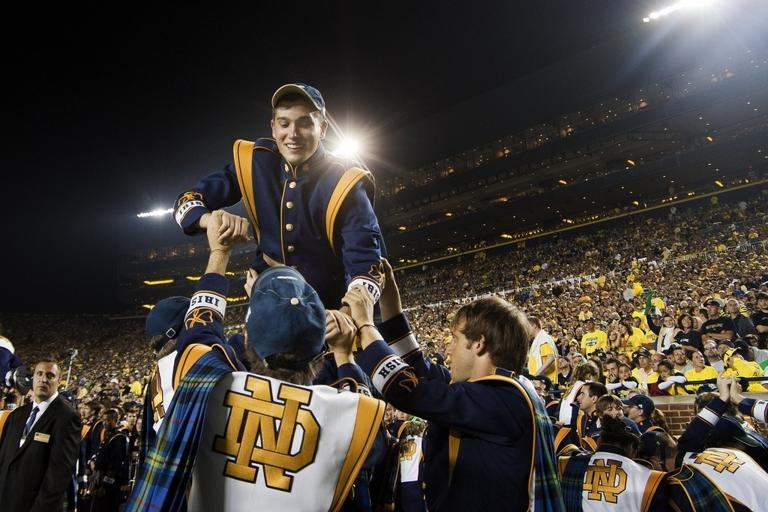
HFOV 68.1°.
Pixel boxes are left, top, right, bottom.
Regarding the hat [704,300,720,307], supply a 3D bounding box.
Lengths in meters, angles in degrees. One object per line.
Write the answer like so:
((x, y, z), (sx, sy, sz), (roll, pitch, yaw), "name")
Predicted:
((7.878, 1.123, 13.593), (0.443, 0.145, 0.272), (14, -17, -37), "hat")

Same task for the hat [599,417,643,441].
((2.966, 2.138, 7.053), (0.514, 0.252, 0.327), (14, -4, -21), "hat")

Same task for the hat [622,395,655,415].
((3.924, 2.243, 8.715), (0.413, 0.212, 0.270), (19, 3, 19), "hat")

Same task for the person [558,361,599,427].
((3.404, 2.412, 9.865), (0.345, 0.888, 0.514), (31, -15, 12), "person")

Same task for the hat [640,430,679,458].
((3.519, 2.475, 7.404), (0.575, 0.304, 0.347), (-2, 1, -33), "hat")

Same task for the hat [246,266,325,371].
((-0.934, 0.580, 5.450), (0.687, 0.909, 0.535), (0, -17, -19), "hat")

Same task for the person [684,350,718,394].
((6.271, 2.298, 11.322), (0.600, 0.856, 0.662), (-12, -23, 34), "person")
